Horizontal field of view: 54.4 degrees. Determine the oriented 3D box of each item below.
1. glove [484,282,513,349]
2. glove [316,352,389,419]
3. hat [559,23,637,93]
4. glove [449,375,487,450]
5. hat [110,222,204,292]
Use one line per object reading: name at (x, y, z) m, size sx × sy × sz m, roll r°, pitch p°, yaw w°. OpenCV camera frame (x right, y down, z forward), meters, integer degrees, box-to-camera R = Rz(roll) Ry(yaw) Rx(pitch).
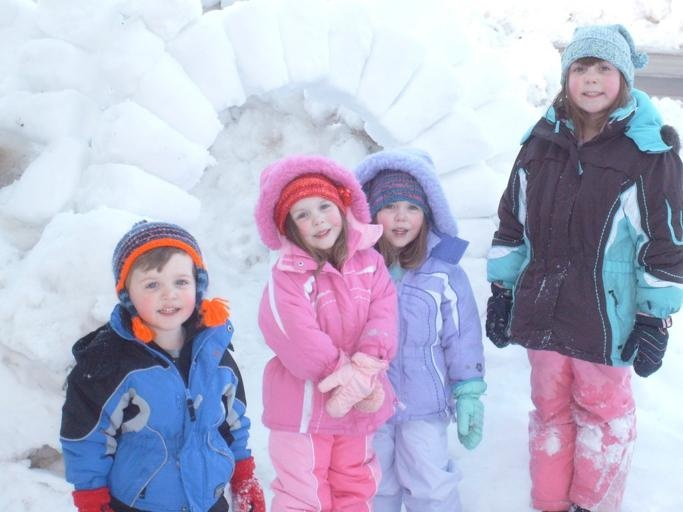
glove at (0.904, 0.343, 3.821) m, size 0.165 × 0.340 × 0.126 m, roll 0°, pitch -11°, yaw 1°
glove at (0.131, 0.654, 3.298) m, size 0.116 × 0.331 × 0.308 m, roll -18°, pitch -10°, yaw 42°
hat at (1.444, -1.058, 3.702) m, size 0.370 × 0.350 × 0.304 m, roll 3°, pitch -8°, yaw 6°
glove at (0.693, 0.838, 3.591) m, size 0.107 × 0.353 × 0.202 m, roll 0°, pitch -8°, yaw -22°
hat at (-0.901, 0.017, 3.337) m, size 0.396 × 0.294 × 0.394 m, roll -10°, pitch -12°, yaw -27°
